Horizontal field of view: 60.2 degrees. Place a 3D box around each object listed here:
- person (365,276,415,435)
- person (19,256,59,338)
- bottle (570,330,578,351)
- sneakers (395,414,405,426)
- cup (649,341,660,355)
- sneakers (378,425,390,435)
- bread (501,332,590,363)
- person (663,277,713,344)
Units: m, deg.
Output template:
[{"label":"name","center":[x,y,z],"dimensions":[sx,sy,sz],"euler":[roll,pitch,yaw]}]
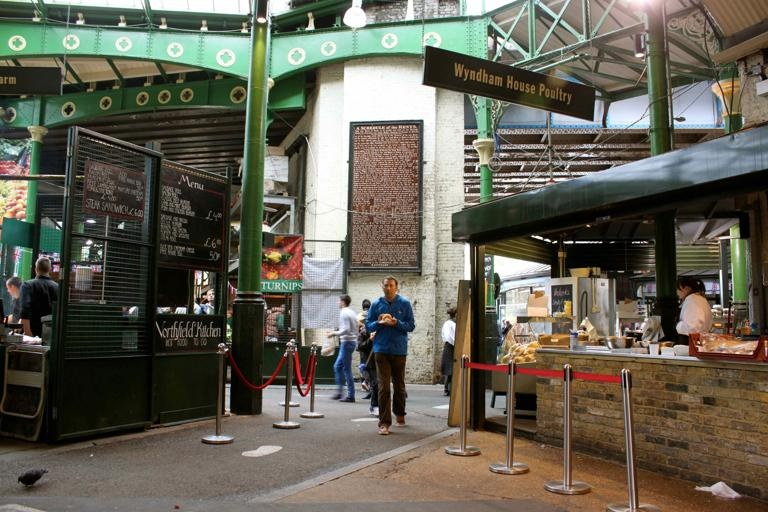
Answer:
[{"label":"person","center":[0.116,1.735,11.867],"dimensions":[0.768,2.710,0.578],"euler":[5,-8,-38]},{"label":"person","center":[-6.462,0.745,12.423],"dimensions":[0.588,1.476,0.670],"euler":[4,-7,-29]},{"label":"bottle","center":[3.116,1.388,10.902],"dimensions":[0.113,0.276,0.312],"euler":[-2,-6,14]},{"label":"sneakers","center":[0.288,2.985,12.116],"dimensions":[0.169,0.241,0.189],"euler":[1,-7,-2]},{"label":"cup","center":[3.997,1.380,9.823],"dimensions":[0.160,0.195,0.149],"euler":[3,-10,1]},{"label":"sneakers","center":[0.004,2.992,11.532],"dimensions":[0.224,0.140,0.340],"euler":[0,-6,-1]},{"label":"bread","center":[2.647,1.602,11.638],"dimensions":[0.865,0.382,0.846],"euler":[5,-9,-39]},{"label":"person","center":[4.921,0.839,10.627],"dimensions":[0.543,1.111,2.027],"euler":[-3,-7,24]}]
